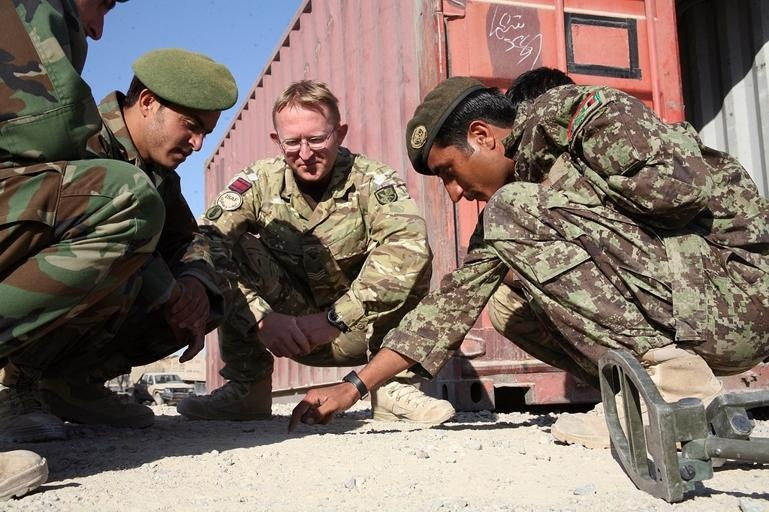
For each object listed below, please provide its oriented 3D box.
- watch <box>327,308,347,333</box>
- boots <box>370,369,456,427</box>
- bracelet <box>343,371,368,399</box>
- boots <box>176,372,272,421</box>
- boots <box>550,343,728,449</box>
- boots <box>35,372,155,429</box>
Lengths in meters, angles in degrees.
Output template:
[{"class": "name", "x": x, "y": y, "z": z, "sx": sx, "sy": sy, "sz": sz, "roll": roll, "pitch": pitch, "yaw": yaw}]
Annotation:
[{"class": "watch", "x": -0.226, "y": 0.313, "z": 3.676, "sx": 0.108, "sy": 0.053, "sz": 0.081, "roll": 42, "pitch": -4, "yaw": -32}, {"class": "boots", "x": 0.143, "y": 0.704, "z": 3.820, "sx": 0.506, "sy": 0.324, "sz": 0.177, "roll": -3, "pitch": 1, "yaw": 26}, {"class": "bracelet", "x": -0.118, "y": 0.546, "z": 3.242, "sx": 0.094, "sy": 0.059, "sz": 0.099, "roll": 27, "pitch": -27, "yaw": 57}, {"class": "boots", "x": -0.783, "y": 0.730, "z": 4.060, "sx": 0.542, "sy": 0.283, "sz": 0.198, "roll": 3, "pitch": 0, "yaw": -14}, {"class": "boots", "x": 0.995, "y": 0.536, "z": 3.115, "sx": 0.779, "sy": 0.424, "sz": 0.298, "roll": -8, "pitch": 1, "yaw": 10}, {"class": "boots", "x": -1.304, "y": 0.671, "z": 3.626, "sx": 0.529, "sy": 0.242, "sz": 0.182, "roll": 8, "pitch": 4, "yaw": -24}]
